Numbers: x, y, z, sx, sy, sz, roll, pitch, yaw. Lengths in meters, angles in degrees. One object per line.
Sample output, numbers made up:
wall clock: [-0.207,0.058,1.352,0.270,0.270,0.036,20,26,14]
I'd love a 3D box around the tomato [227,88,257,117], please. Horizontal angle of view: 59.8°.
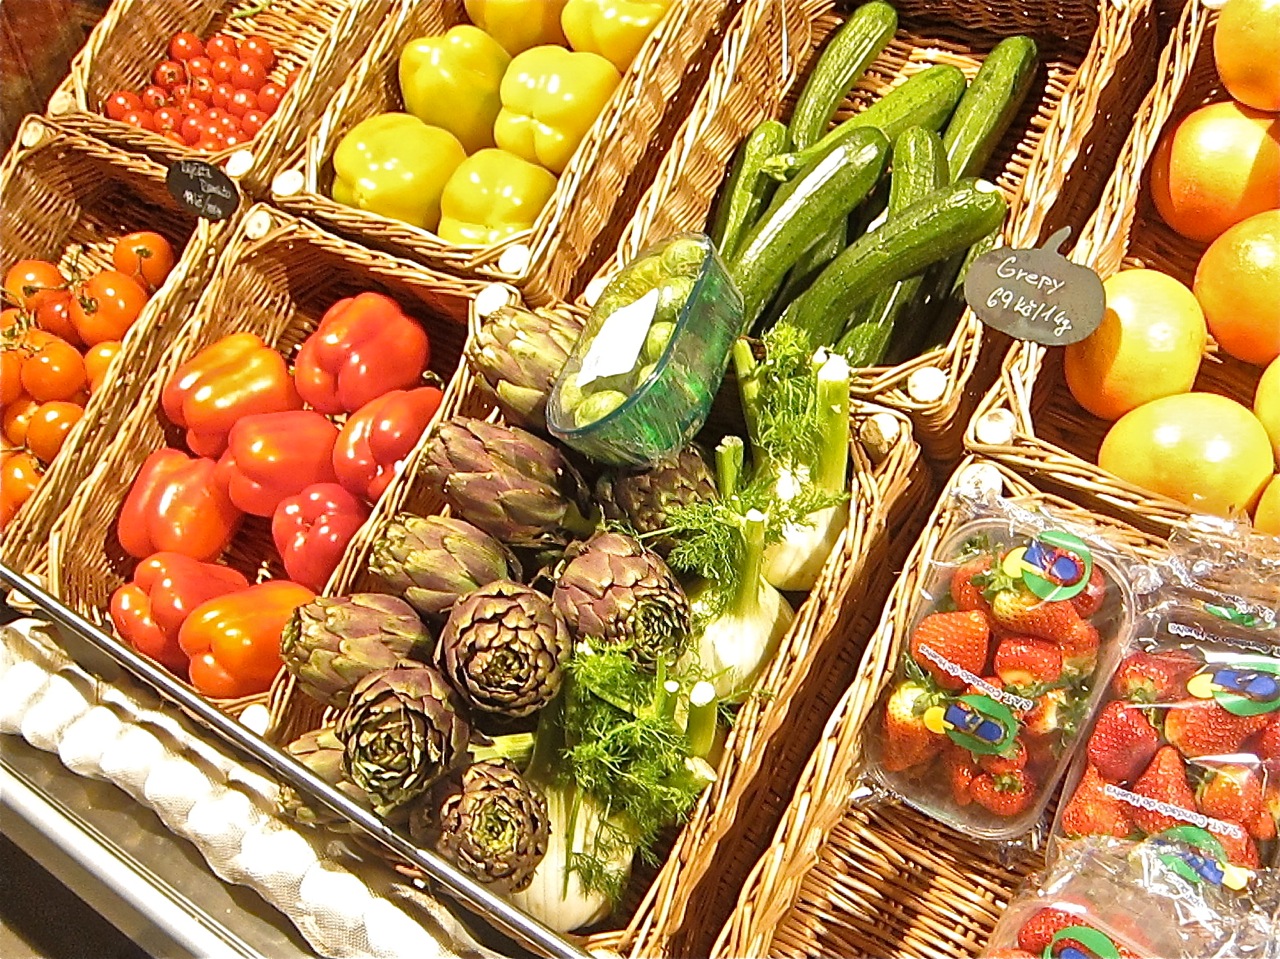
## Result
tomato: [-1.004,-0.950,2.806,0.073,0.063,0.062,-40,22,-8]

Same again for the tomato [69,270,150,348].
tomato: [-1.295,-0.445,2.697,0.167,0.202,0.182,-4,56,-22]

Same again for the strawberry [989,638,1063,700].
strawberry: [0.625,0.298,1.783,0.088,0.099,0.098,19,65,-5]

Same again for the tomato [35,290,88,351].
tomato: [-1.412,-0.397,2.749,0.125,0.118,0.112,15,13,4]

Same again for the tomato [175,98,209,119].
tomato: [-1.124,-0.934,2.796,0.062,0.051,0.047,32,28,31]

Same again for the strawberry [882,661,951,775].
strawberry: [0.455,0.409,1.866,0.099,0.157,0.092,19,13,7]

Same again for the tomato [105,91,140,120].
tomato: [-1.307,-0.941,2.802,0.069,0.071,0.080,-8,90,2]

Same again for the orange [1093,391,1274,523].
orange: [0.978,-0.024,2.006,0.257,0.238,0.243,-19,78,24]

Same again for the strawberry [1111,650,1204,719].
strawberry: [0.819,0.325,1.788,0.128,0.095,0.100,-15,66,-9]

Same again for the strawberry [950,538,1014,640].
strawberry: [0.565,0.169,1.843,0.110,0.118,0.121,-21,21,-29]

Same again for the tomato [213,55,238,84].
tomato: [-1.054,-1.039,2.826,0.057,0.065,0.071,7,19,30]

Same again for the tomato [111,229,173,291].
tomato: [-1.213,-0.529,2.710,0.132,0.107,0.117,37,46,-28]

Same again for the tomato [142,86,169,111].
tomato: [-1.232,-0.964,2.853,0.061,0.064,0.067,2,86,-8]

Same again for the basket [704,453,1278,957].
basket: [0.438,0.352,1.970,0.456,0.189,0.964,24,91,-6]

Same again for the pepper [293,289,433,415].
pepper: [-0.649,-0.268,2.532,0.227,0.261,0.292,14,89,-23]

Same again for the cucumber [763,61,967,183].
cucumber: [0.496,-0.714,2.327,0.489,0.139,0.154,-29,101,-18]

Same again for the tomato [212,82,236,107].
tomato: [-1.050,-0.978,2.829,0.051,0.058,0.065,6,21,14]

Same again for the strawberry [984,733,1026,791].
strawberry: [0.611,0.467,1.863,0.061,0.080,0.047,3,11,-15]

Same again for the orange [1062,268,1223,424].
orange: [0.895,-0.221,2.088,0.230,0.315,0.285,7,71,-9]

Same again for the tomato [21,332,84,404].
tomato: [-1.377,-0.255,2.603,0.118,0.135,0.159,-31,20,-20]

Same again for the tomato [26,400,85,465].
tomato: [-1.383,-0.105,2.596,0.097,0.093,0.120,4,75,-13]

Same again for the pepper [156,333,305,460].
pepper: [-0.921,-0.224,2.537,0.273,0.232,0.258,-35,43,-29]

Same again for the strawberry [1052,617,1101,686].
strawberry: [0.707,0.275,1.807,0.052,0.068,0.096,9,67,-6]

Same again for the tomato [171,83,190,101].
tomato: [-1.170,-0.986,2.837,0.038,0.043,0.022,14,6,20]

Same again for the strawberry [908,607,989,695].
strawberry: [0.515,0.273,1.812,0.113,0.066,0.122,-30,68,12]

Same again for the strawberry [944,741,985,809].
strawberry: [0.540,0.494,1.859,0.027,0.056,0.096,3,81,-47]

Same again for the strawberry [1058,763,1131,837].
strawberry: [0.723,0.507,1.785,0.087,0.055,0.112,-17,70,23]

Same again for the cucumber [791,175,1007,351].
cucumber: [0.486,-0.397,2.066,0.371,0.082,0.100,-48,34,2]

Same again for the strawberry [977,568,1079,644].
strawberry: [0.623,0.210,1.783,0.140,0.089,0.068,23,17,13]

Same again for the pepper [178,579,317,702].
pepper: [-0.835,0.327,2.356,0.199,0.213,0.277,42,41,18]

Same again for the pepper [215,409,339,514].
pepper: [-0.803,-0.033,2.494,0.202,0.216,0.273,26,32,-39]

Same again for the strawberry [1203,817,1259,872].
strawberry: [0.911,0.551,1.691,0.061,0.045,0.081,-35,79,-34]

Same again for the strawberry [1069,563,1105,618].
strawberry: [0.733,0.178,1.841,0.041,0.058,0.081,19,83,-19]

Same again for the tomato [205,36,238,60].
tomato: [-1.082,-1.098,2.878,0.063,0.067,0.064,5,9,30]

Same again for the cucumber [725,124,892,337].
cucumber: [0.331,-0.457,2.115,0.122,0.127,0.482,37,78,3]

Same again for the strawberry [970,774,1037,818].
strawberry: [0.611,0.520,1.833,0.078,0.079,0.035,1,9,12]
